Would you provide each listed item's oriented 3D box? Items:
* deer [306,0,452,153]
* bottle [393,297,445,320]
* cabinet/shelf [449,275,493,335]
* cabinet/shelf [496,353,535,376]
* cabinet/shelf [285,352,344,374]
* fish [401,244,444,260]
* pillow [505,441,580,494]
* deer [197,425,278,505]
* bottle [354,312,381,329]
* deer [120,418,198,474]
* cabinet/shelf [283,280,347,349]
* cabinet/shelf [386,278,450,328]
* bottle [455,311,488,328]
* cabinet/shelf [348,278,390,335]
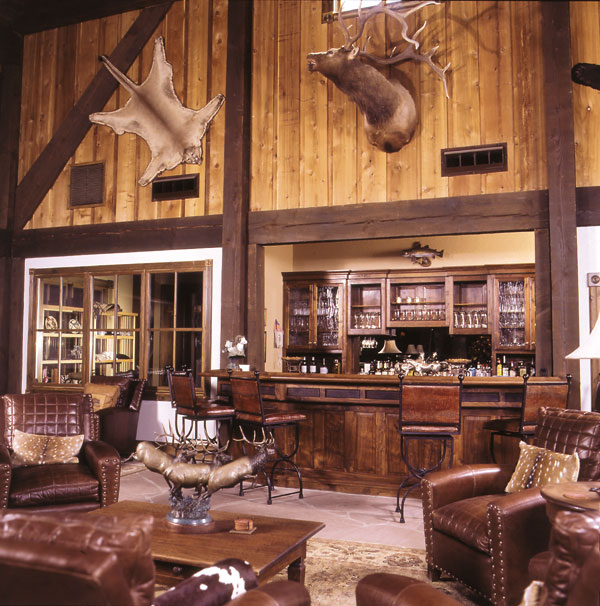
[{"bbox_3d":[0.755,-2.272,6.222,0.828,1.544,1.258,-2,-2,43],"label":"deer"},{"bbox_3d":[1.684,0.110,9.336,0.736,0.277,0.327,-1,-2,9],"label":"bottle"},{"bbox_3d":[2.362,0.034,9.082,0.479,0.872,0.258,2,16,16],"label":"cabinet/shelf"},{"bbox_3d":[2.808,0.788,8.547,0.473,0.273,0.473,-1,-2,19],"label":"cabinet/shelf"},{"bbox_3d":[0.190,0.852,9.542,0.841,0.292,0.398,-1,-2,0],"label":"cabinet/shelf"},{"bbox_3d":[1.756,-0.740,9.221,0.456,0.288,0.580,-2,-2,37],"label":"fish"},{"bbox_3d":[1.276,0.850,3.421,0.102,0.273,0.350,28,-17,-20],"label":"pillow"},{"bbox_3d":[-0.309,0.826,3.391,0.389,0.254,0.239,1,-2,-34],"label":"deer"},{"bbox_3d":[0.974,0.248,9.543,0.407,0.214,0.199,-1,-2,9],"label":"bottle"},{"bbox_3d":[-0.731,0.801,3.396,0.377,0.407,0.198,12,-6,-17],"label":"deer"},{"bbox_3d":[0.259,0.179,9.637,0.844,1.293,0.355,-1,-5,10],"label":"cabinet/shelf"},{"bbox_3d":[1.711,-0.008,9.351,0.612,0.612,0.214,-1,-3,16],"label":"cabinet/shelf"},{"bbox_3d":[2.344,0.200,9.002,0.447,0.270,0.203,-1,-2,22],"label":"bottle"},{"bbox_3d":[1.017,-0.044,9.808,0.541,0.846,0.438,0,38,5],"label":"cabinet/shelf"}]
